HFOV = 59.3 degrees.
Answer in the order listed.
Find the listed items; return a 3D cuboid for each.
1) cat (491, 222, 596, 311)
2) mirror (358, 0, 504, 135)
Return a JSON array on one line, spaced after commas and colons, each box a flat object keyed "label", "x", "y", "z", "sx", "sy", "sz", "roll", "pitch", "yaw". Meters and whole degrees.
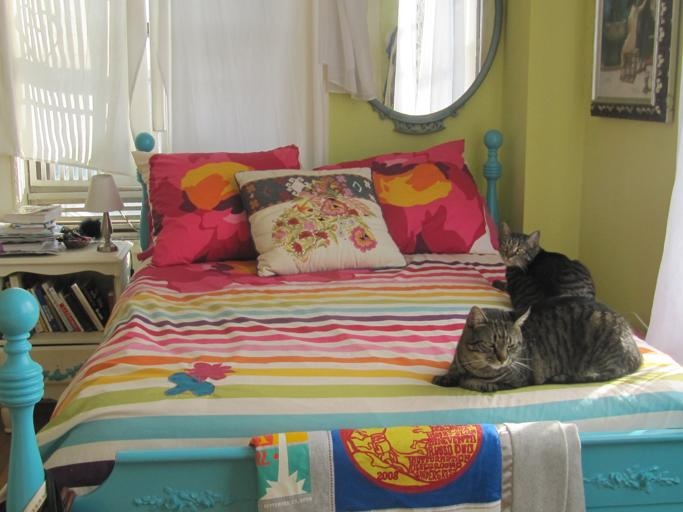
[{"label": "cat", "x": 0.698, "y": 0.067, "z": 2.154, "sx": 0.210, "sy": 0.211, "sz": 0.373, "roll": -32, "pitch": 43, "yaw": 1}, {"label": "mirror", "x": 0.433, "y": -0.997, "z": 3.077, "sx": 0.578, "sy": 0.707, "sz": 0.029, "roll": 15, "pitch": 8, "yaw": -12}]
